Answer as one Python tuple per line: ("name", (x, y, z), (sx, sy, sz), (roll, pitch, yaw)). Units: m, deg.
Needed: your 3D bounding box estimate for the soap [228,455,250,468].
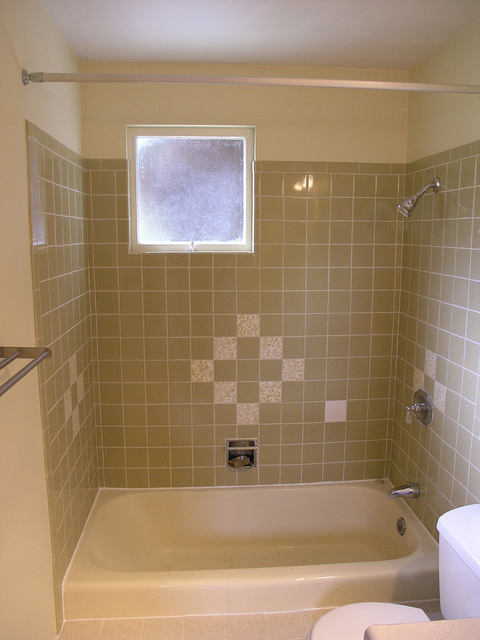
("soap", (-0.005, 0.768, 2.845), (0.093, 0.054, 0.039), (-7, -77, -20))
